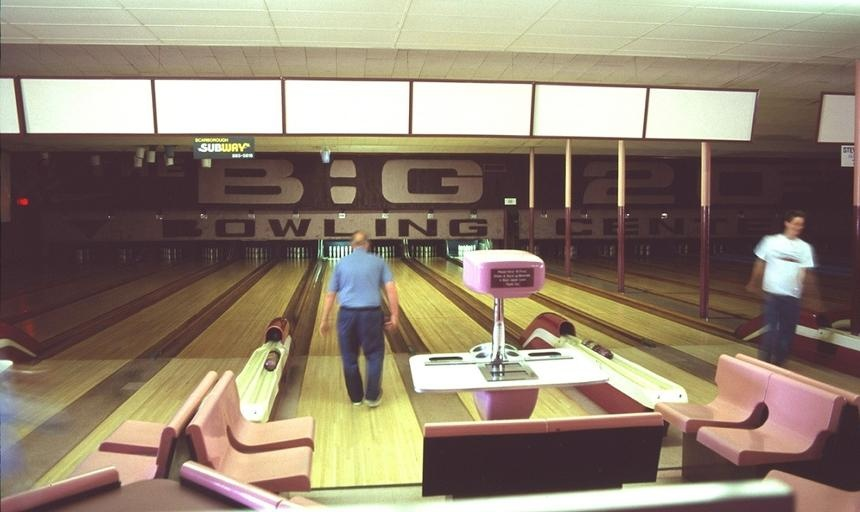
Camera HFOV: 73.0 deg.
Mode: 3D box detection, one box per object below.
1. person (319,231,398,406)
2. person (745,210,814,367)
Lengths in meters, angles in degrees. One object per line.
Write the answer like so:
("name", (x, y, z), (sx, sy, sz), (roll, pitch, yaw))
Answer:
("person", (-0.768, 0.694, 6.469), (0.787, 1.934, 0.438), (0, 10, 3))
("person", (3.918, 0.388, 6.571), (0.606, 1.808, 0.617), (5, 11, 31))
